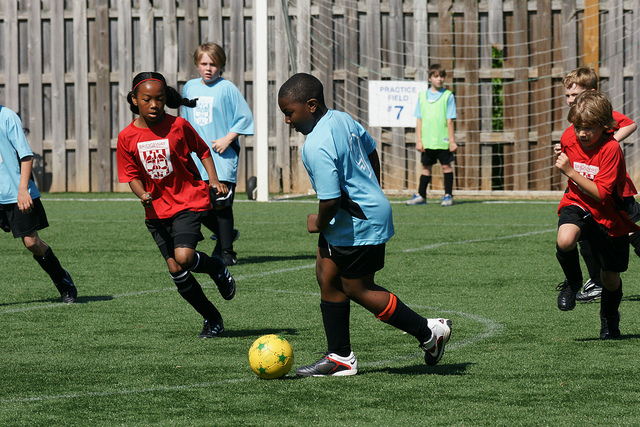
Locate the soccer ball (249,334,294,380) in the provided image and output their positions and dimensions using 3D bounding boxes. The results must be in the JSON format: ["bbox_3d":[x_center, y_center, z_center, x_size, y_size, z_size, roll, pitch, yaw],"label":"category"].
[{"bbox_3d":[-0.402,1.198,10.279,0.362,0.321,0.215,0,12,1],"label":"soccer ball"}]

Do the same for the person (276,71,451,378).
[{"bbox_3d":[0.309,0.101,10.301,1.300,2.448,0.630,0,12,1],"label":"person"}]

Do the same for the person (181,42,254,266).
[{"bbox_3d":[-1.135,-0.644,13.310,0.727,2.349,0.881,0,3,-2],"label":"person"}]
